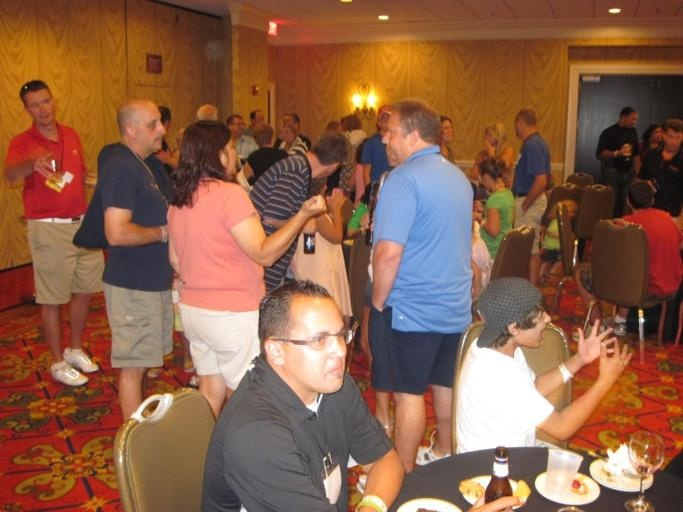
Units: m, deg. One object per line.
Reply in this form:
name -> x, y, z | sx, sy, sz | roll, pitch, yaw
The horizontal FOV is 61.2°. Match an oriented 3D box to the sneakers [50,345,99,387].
sneakers -> -2.089, 0.878, 4.540 | 0.249, 0.119, 0.293 | 24, 20, -12

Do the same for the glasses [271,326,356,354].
glasses -> -0.090, 0.293, 2.057 | 0.316, 0.069, 0.103 | -4, 11, -20

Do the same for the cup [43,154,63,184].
cup -> -1.978, -0.615, 3.949 | 0.105, 0.175, 0.195 | -5, 11, -23

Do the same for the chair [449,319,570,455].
chair -> 0.759, 0.603, 2.592 | 0.323, 0.564, 0.370 | -20, 33, -13

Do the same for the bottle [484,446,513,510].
bottle -> 0.556, 0.803, 2.055 | 0.098, 0.316, 0.102 | -2, 31, 1

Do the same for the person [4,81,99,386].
person -> -2.153, -0.166, 4.419 | 0.605, 2.297, 0.422 | -5, 10, -25

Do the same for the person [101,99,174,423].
person -> -1.200, 0.028, 3.439 | 0.403, 1.915, 0.406 | -5, 10, -25

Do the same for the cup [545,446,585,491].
cup -> 0.798, 0.789, 2.137 | 0.124, 0.151, 0.133 | 5, 8, -1
